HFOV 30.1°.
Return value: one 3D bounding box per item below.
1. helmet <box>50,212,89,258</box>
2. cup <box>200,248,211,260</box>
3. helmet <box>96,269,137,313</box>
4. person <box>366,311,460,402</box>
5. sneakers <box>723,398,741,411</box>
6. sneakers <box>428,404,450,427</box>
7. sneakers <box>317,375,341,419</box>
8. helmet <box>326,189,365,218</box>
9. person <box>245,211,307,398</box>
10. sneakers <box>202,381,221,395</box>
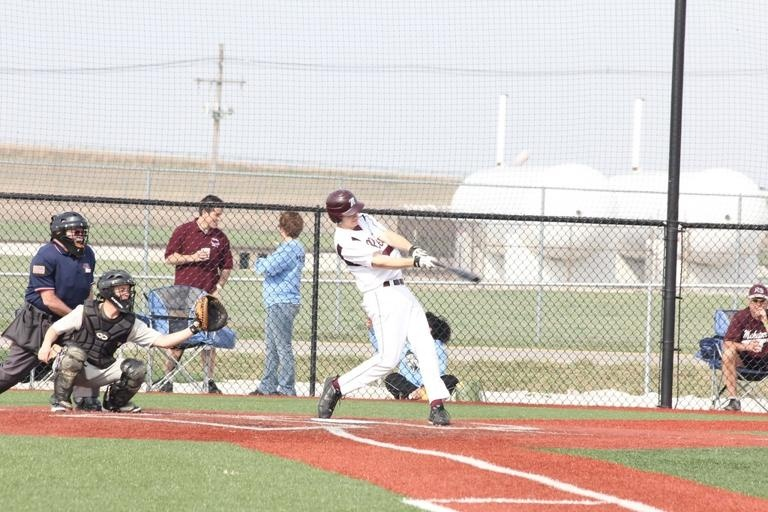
[{"bbox_3d":[-4.422,-0.325,20.014,0.595,0.587,0.488,3,-3,17],"label":"helmet"},{"bbox_3d":[-2.758,-0.034,22.207,0.120,0.196,0.241,0,-3,6],"label":"cup"},{"bbox_3d":[-3.686,0.479,19.681,0.599,0.565,0.476,1,-4,29],"label":"helmet"},{"bbox_3d":[0.397,1.500,20.710,1.421,1.437,0.868,-2,-13,-8],"label":"person"},{"bbox_3d":[5.438,2.311,22.240,0.253,0.193,0.384,0,-3,12],"label":"sneakers"},{"bbox_3d":[0.765,2.153,19.369,0.277,0.287,0.218,1,-3,0],"label":"sneakers"},{"bbox_3d":[-0.739,1.948,19.594,0.289,0.631,0.238,11,-4,32],"label":"sneakers"},{"bbox_3d":[-0.548,-0.686,19.460,0.472,0.239,0.353,-12,27,21],"label":"helmet"},{"bbox_3d":[-1.595,0.726,22.153,0.689,2.826,0.282,1,-3,-4],"label":"person"},{"bbox_3d":[-2.648,2.062,22.245,0.179,0.252,0.103,-4,-26,-26],"label":"sneakers"}]
